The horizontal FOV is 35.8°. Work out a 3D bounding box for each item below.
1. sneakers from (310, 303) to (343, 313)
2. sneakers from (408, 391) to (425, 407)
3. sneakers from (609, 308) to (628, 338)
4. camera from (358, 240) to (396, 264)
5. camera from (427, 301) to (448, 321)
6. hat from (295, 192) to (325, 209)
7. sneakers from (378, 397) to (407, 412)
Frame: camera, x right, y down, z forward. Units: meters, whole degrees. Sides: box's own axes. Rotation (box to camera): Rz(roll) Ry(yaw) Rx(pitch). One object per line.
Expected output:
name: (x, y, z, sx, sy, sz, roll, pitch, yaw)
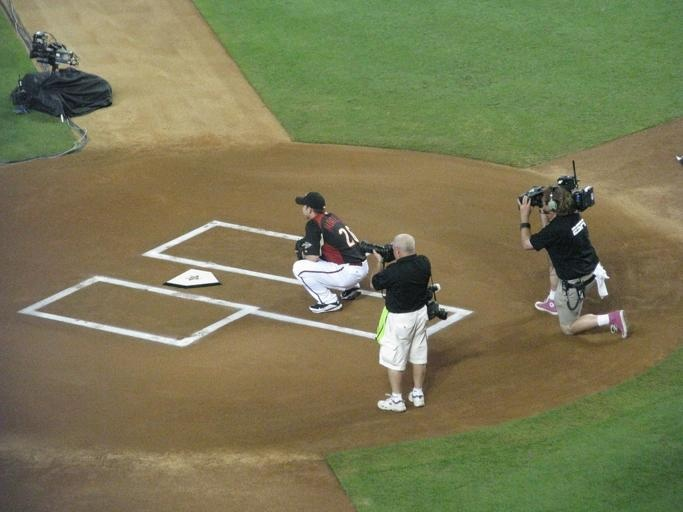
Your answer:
sneakers: (-0.272, 0.850, 17.206, 0.542, 0.187, 0.173, 2, 25, -3)
sneakers: (1.108, 2.107, 15.612, 0.160, 0.134, 0.321, 0, 16, -7)
sneakers: (4.226, 1.018, 16.200, 0.284, 0.556, 0.197, -10, 51, 11)
camera: (0.542, -0.075, 15.624, 0.212, 0.236, 0.700, -13, 16, -37)
camera: (1.365, 0.794, 15.610, 0.348, 0.290, 0.114, 14, 8, -27)
hat: (-0.526, -0.886, 16.973, 0.457, 0.205, 0.261, 21, 32, 14)
sneakers: (0.739, 2.184, 15.560, 0.494, 0.206, 0.172, 2, 47, 9)
